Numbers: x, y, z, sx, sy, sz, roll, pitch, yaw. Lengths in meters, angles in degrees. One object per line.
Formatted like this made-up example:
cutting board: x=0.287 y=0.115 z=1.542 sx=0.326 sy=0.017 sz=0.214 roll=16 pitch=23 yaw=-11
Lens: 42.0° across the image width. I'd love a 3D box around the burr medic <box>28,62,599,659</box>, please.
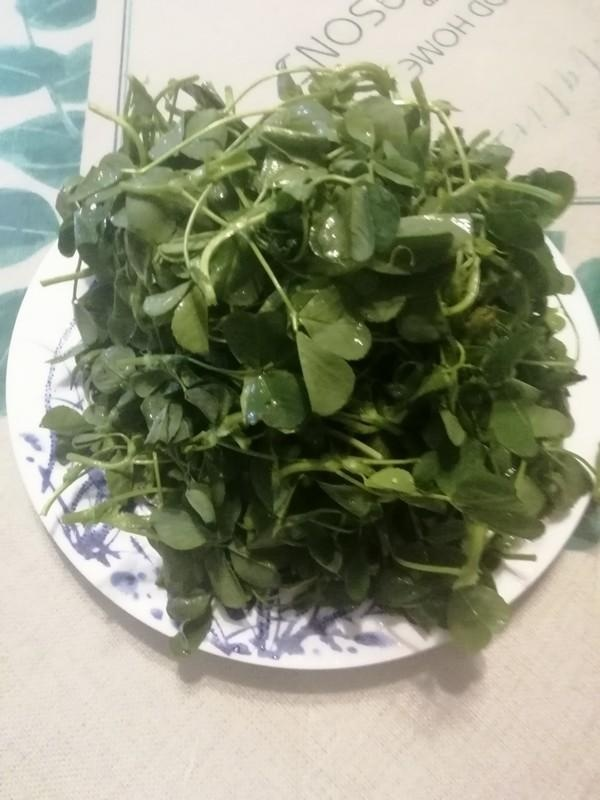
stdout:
burr medic: x=0.009 y=-0.030 z=0.614 sx=0.472 sy=0.423 sz=0.284 roll=11 pitch=35 yaw=12
